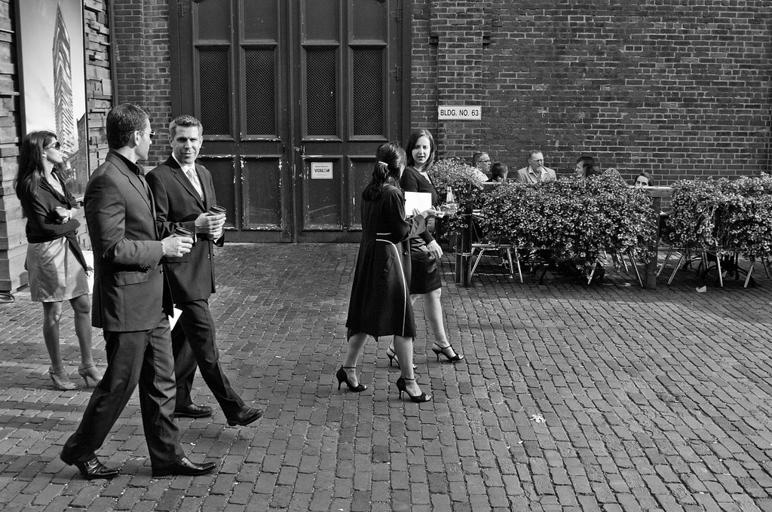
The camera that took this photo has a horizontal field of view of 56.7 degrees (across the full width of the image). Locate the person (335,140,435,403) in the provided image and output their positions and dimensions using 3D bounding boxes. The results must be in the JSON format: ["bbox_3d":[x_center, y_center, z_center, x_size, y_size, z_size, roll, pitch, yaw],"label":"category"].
[{"bbox_3d":[-0.023,0.143,6.878,0.883,2.406,0.681,0,11,-4],"label":"person"}]

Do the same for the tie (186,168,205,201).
[{"bbox_3d":[-1.656,-0.640,6.187,0.060,0.275,0.158,-14,13,17],"label":"tie"}]

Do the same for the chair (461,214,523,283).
[{"bbox_3d":[1.755,-0.176,11.677,0.972,1.529,1.004,0,4,1],"label":"chair"}]

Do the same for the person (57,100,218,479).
[{"bbox_3d":[-1.907,0.300,5.335,0.933,2.789,0.528,-4,11,-20],"label":"person"}]

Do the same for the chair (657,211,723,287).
[{"bbox_3d":[4.934,-0.186,11.541,0.990,1.166,1.774,6,14,25],"label":"chair"}]

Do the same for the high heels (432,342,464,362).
[{"bbox_3d":[0.657,1.051,7.787,0.404,0.244,0.149,-2,13,2],"label":"high heels"}]
